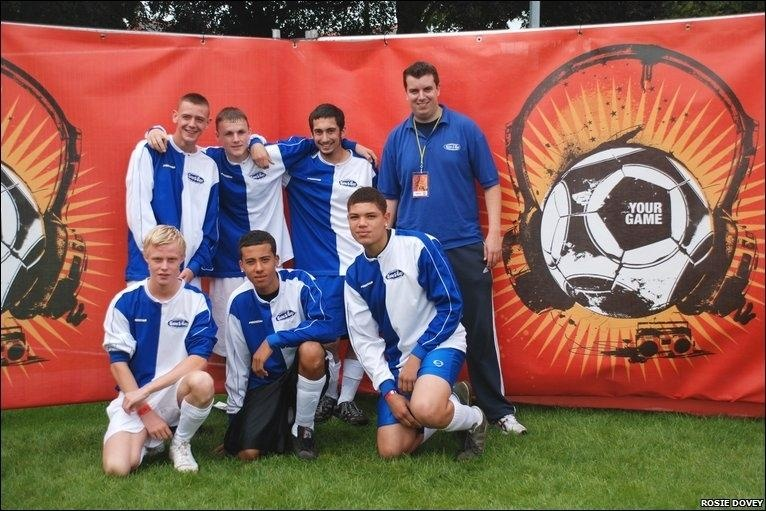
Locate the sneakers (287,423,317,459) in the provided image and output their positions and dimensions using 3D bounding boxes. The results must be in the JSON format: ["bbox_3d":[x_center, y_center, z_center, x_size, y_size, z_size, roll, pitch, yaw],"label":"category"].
[{"bbox_3d":[-0.525,1.253,5.132,0.127,0.165,0.178,-5,15,-17],"label":"sneakers"}]

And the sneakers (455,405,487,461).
[{"bbox_3d":[0.595,1.205,5.084,0.228,0.238,0.152,-4,14,-11],"label":"sneakers"}]

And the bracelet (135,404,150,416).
[{"bbox_3d":[-1.572,1.007,5.010,0.076,0.075,0.055,26,2,-17],"label":"bracelet"}]

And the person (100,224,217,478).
[{"bbox_3d":[-1.487,0.608,5.043,0.765,1.536,0.668,-4,14,-13],"label":"person"}]

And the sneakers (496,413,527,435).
[{"bbox_3d":[0.929,1.201,5.436,0.189,0.086,0.171,-4,14,-14],"label":"sneakers"}]

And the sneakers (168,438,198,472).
[{"bbox_3d":[-1.305,1.297,4.991,0.109,0.117,0.289,-3,9,-34],"label":"sneakers"}]

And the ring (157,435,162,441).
[{"bbox_3d":[-1.462,1.195,4.997,0.022,0.026,0.010,-5,10,6],"label":"ring"}]

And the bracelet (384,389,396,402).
[{"bbox_3d":[0.054,0.919,5.065,0.076,0.062,0.047,-4,14,-12],"label":"bracelet"}]

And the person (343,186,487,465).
[{"bbox_3d":[0.213,0.441,5.075,0.907,1.731,0.605,-2,14,-4],"label":"person"}]

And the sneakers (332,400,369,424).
[{"bbox_3d":[-0.244,1.173,5.722,0.130,0.108,0.257,-1,-2,-42],"label":"sneakers"}]

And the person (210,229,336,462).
[{"bbox_3d":[-0.716,0.577,5.186,0.769,1.448,0.616,-2,14,-5],"label":"person"}]
